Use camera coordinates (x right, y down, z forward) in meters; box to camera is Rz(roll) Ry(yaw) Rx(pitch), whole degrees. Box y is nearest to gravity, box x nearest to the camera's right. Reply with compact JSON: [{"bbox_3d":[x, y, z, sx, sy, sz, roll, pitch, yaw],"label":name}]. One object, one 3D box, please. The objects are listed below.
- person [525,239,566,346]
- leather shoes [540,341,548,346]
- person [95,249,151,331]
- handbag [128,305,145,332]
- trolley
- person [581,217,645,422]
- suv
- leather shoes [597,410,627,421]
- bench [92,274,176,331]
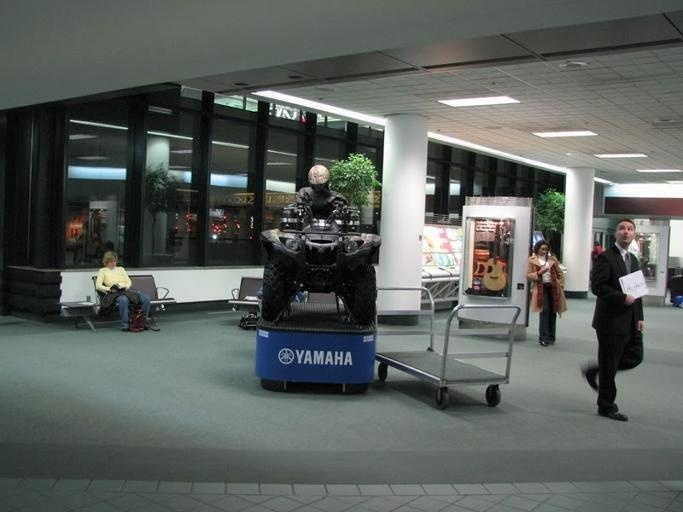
[{"bbox_3d":[4.141,0.731,9.763,0.897,1.808,0.532,1,3,-43],"label":"person"},{"bbox_3d":[4.032,1.722,9.561,0.164,0.087,0.177,4,2,21],"label":"leather shoes"},{"bbox_3d":[-4.173,0.653,9.269,1.083,1.427,0.718,4,2,29],"label":"person"},{"bbox_3d":[-3.840,1.178,9.097,0.297,0.433,0.306,2,2,-19],"label":"handbag"},{"bbox_3d":[1.237,1.179,6.349,1.059,1.165,1.999,1,2,-23],"label":"trolley"},{"bbox_3d":[3.165,0.727,5.539,0.661,2.154,0.430,2,2,-28],"label":"person"},{"bbox_3d":[-0.271,0.094,6.729,1.127,1.160,1.957,1,1,1],"label":"suv"},{"bbox_3d":[3.143,1.819,5.562,0.255,0.100,0.102,-4,-5,33],"label":"leather shoes"},{"bbox_3d":[-4.073,0.820,9.585,0.845,0.719,1.367,12,6,28],"label":"bench"}]
